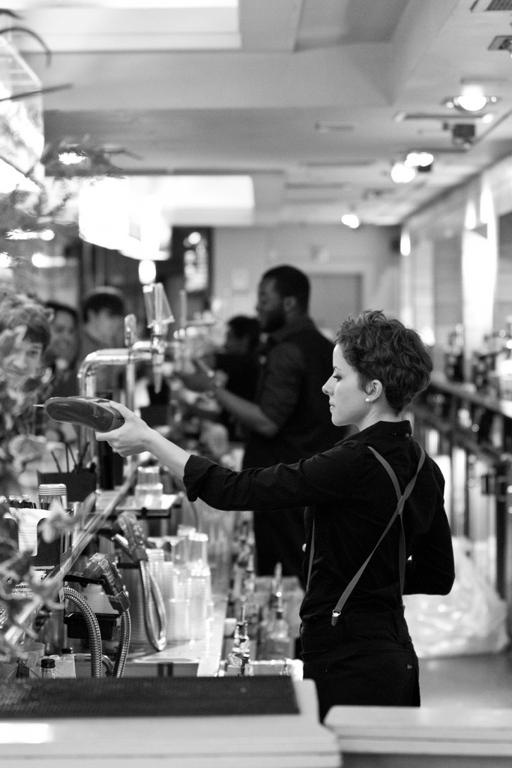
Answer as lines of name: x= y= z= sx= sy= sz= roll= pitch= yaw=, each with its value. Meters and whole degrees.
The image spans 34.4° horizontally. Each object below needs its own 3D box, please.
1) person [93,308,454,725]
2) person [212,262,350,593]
person: x=0.134 y=0.243 z=2.089 sx=0.803 sy=1.366 sz=0.574 roll=3 pitch=2 yaw=22
person: x=0.028 y=0.279 z=3.247 sx=0.559 sy=1.423 sz=0.493 roll=6 pitch=19 yaw=15
